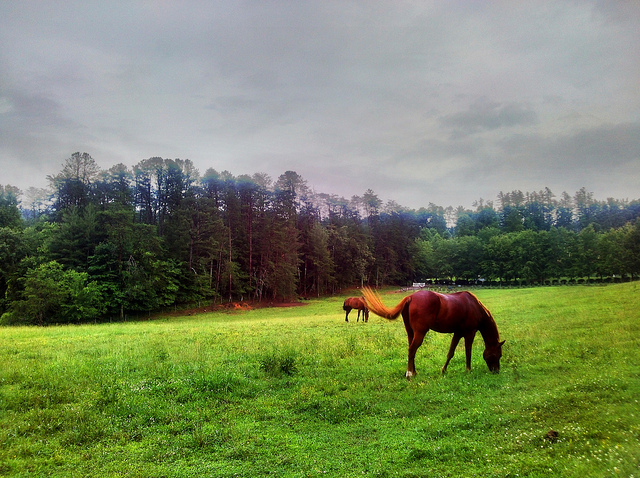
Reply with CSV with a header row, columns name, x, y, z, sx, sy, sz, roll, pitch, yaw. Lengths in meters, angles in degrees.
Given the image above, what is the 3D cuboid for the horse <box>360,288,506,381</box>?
name,x,y,z,sx,sy,sz,roll,pitch,yaw
horse,5.810,4.573,24.870,7.723,4.532,1.819,4,-4,-16
